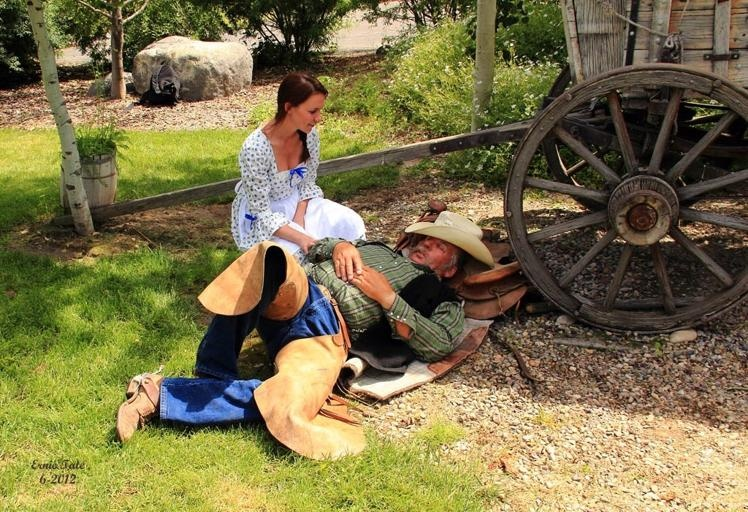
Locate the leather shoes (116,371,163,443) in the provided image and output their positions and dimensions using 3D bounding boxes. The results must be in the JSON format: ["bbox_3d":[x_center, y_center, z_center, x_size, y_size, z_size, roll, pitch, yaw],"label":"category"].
[{"bbox_3d":[-1.482,0.944,4.261,0.222,0.185,0.466,-4,45,25],"label":"leather shoes"}]

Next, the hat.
[{"bbox_3d":[0.674,-0.169,5.363,0.638,0.216,0.475,21,-5,-15],"label":"hat"}]

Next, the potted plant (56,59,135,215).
[{"bbox_3d":[-2.731,-1.008,6.405,0.572,1.079,0.445,20,21,4],"label":"potted plant"}]

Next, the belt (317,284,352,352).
[{"bbox_3d":[-0.226,0.443,4.698,0.116,0.401,0.341,-7,4,-44],"label":"belt"}]
